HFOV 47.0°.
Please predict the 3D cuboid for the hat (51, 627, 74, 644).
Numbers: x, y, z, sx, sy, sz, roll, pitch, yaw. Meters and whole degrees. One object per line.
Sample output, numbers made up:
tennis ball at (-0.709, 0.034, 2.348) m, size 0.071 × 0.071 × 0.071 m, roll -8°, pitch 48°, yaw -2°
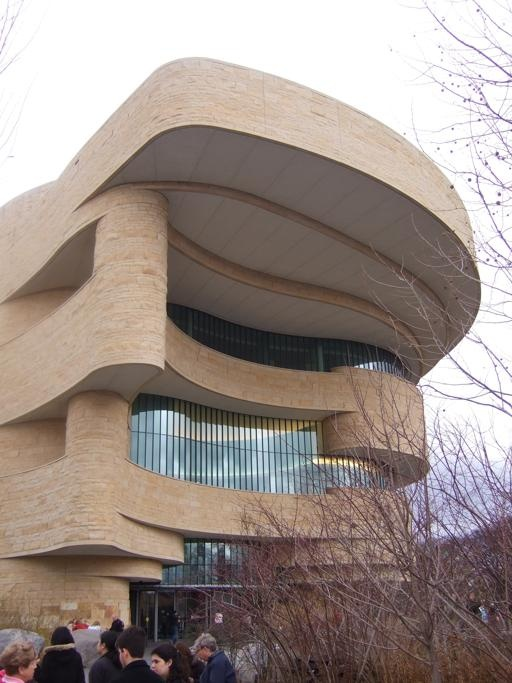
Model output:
hat at (-1.829, 2.741, 5.510) m, size 0.173 × 0.173 × 0.229 m, roll 3°, pitch -10°, yaw -7°
